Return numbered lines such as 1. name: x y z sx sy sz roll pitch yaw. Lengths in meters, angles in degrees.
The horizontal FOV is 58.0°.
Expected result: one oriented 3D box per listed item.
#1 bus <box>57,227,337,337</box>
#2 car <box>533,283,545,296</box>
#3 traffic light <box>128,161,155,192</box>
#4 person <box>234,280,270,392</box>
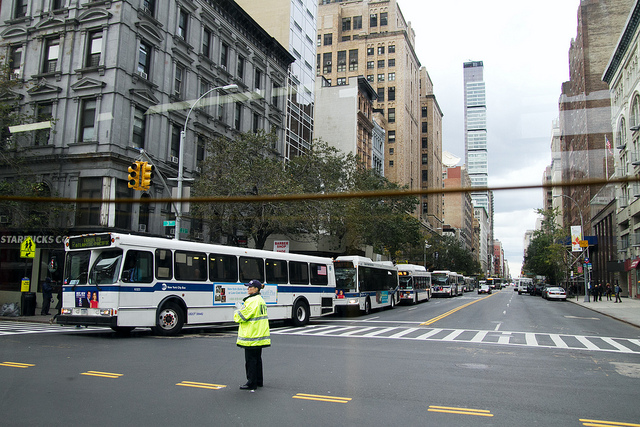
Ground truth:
1. bus: -4.867 3.625 28.476 3.714 3.976 13.982 -4 -8 40
2. car: 33.969 11.784 90.164 1.747 1.650 3.006 -1 -7 17
3. traffic light: -8.179 -1.708 26.398 1.133 1.328 1.180 -1 -8 6
4. person: -1.906 3.450 16.473 0.907 3.049 0.651 1 2 -9
